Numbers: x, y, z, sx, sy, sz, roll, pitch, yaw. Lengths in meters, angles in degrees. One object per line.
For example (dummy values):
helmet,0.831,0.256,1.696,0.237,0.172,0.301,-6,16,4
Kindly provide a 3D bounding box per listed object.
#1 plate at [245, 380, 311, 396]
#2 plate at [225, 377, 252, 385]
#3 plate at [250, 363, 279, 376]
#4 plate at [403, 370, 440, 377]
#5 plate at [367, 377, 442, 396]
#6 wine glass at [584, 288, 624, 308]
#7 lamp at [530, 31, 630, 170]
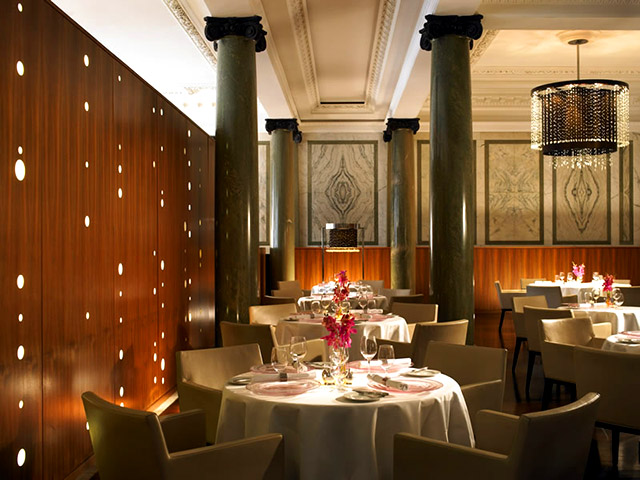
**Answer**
plate,-0.247,0.898,3.106,0.402,0.047,0.236,-4,-3,5
plate,-0.518,0.901,3.296,0.159,0.030,0.219,-3,-4,-9
plate,-0.355,0.855,3.429,0.258,0.078,0.121,-7,-5,45
plate,0.663,0.877,3.362,0.232,0.023,0.133,-4,-4,11
plate,0.529,0.888,3.132,0.457,0.041,0.258,-3,-4,-9
wine glass,3.833,0.782,6.924,0.273,0.120,0.321,-1,9,4
lamp,3.585,-1.932,7.145,1.049,1.647,1.071,-7,8,-28
